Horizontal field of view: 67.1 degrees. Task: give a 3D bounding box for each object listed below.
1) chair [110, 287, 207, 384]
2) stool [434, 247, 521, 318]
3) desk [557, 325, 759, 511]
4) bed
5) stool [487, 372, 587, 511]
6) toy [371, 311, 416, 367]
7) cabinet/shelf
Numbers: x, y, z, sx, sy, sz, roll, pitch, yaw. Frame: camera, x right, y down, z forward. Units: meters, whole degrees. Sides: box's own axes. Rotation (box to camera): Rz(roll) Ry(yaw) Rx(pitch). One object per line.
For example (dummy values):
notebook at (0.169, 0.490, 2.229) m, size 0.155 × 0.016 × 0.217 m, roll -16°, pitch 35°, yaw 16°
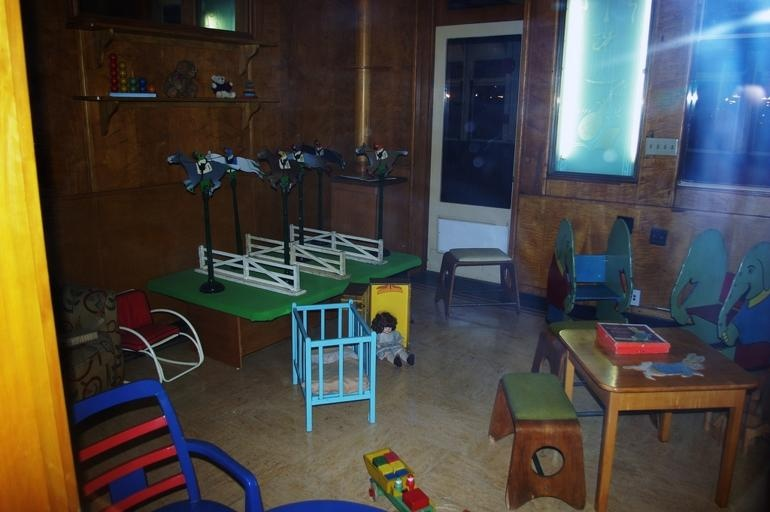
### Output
chair at (-1.889, 0.644, 4.668) m, size 0.661 × 0.641 × 0.448 m, roll 12°, pitch 21°, yaw 23°
stool at (0.918, 0.225, 5.887) m, size 0.810 × 0.626 × 0.880 m, roll 2°, pitch 14°, yaw 5°
desk at (1.637, 0.997, 3.617) m, size 0.949 × 0.881 × 0.712 m, roll -1°, pitch 14°, yaw -7°
bed at (-0.423, 0.761, 4.418) m, size 0.621 × 0.713 × 0.959 m, roll -3°, pitch 13°, yaw -14°
stool at (0.893, 1.026, 3.610) m, size 0.641 × 0.666 × 0.925 m, roll 1°, pitch 16°, yaw 4°
toy at (0.061, 0.688, 4.780) m, size 0.359 × 0.422 × 0.253 m, roll 0°, pitch 14°, yaw 0°
cabinet/shelf at (-1.681, -1.506, 4.898) m, size 0.335 × 0.705 × 1.667 m, roll 6°, pitch 14°, yaw 42°
